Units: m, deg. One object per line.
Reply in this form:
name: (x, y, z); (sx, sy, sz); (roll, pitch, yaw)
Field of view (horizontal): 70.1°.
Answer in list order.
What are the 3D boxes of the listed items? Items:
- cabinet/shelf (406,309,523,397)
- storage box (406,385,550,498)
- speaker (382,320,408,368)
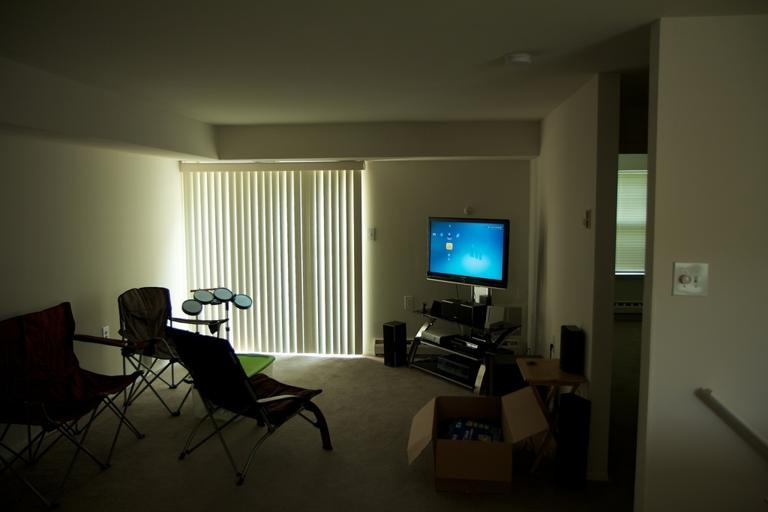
cabinet/shelf: (0.910, 0.959, 6.306); (0.841, 0.990, 1.385); (17, -5, 2)
storage box: (0.707, 1.457, 4.346); (1.003, 0.445, 0.704); (0, 10, 4)
speaker: (0.133, 1.037, 6.466); (0.280, 0.508, 0.180); (2, 5, -2)
